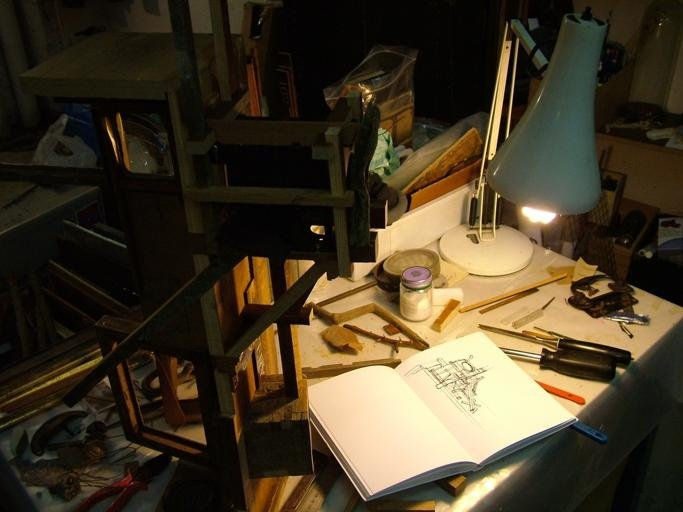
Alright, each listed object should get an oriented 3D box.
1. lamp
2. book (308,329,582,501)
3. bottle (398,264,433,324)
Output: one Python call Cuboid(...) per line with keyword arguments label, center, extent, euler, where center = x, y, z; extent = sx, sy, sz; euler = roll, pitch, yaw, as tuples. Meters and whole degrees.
Cuboid(label="lamp", center=(0.528, -0.284, 1.785), extent=(0.397, 0.917, 0.610), euler=(-1, 32, 5))
Cuboid(label="book", center=(0.258, 0.416, 1.584), extent=(0.653, 0.122, 0.380), euler=(-16, 35, -18))
Cuboid(label="bottle", center=(0.238, 0.128, 1.920), extent=(0.086, 0.182, 0.094), euler=(0, 33, 0))
